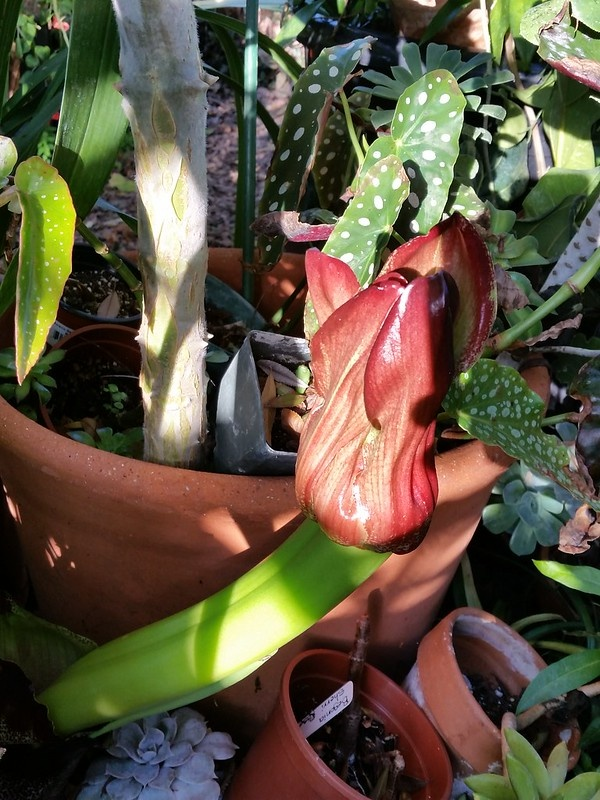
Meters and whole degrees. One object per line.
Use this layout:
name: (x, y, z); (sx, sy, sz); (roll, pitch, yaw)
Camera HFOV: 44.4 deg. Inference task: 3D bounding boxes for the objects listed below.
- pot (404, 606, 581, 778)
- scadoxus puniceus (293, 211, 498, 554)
pot: (0.142, 0.248, 0.656); (0.131, 0.093, 0.131); (40, 29, -29)
scadoxus puniceus: (0.043, -0.014, 0.392); (0.101, 0.158, 0.135); (11, 39, -6)
